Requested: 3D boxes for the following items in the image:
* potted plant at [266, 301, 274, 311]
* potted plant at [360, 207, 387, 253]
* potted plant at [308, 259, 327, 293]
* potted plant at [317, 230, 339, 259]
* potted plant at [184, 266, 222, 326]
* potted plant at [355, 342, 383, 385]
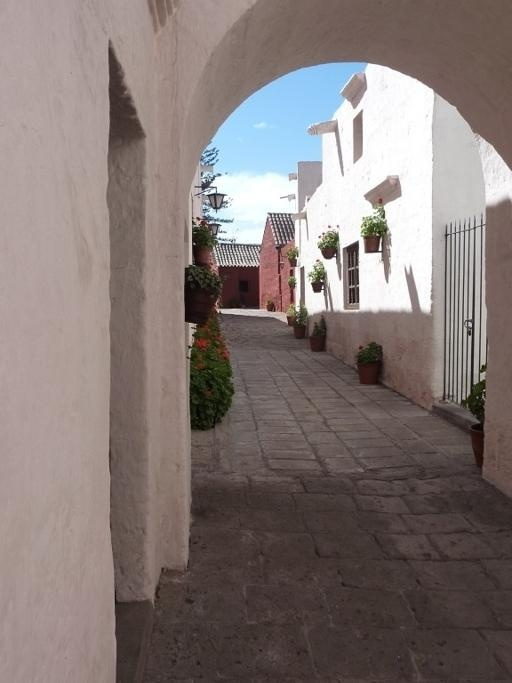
[{"bbox_3d":[0.678,-1.685,25.714,0.306,0.507,0.329,-1,0,2],"label":"potted plant"},{"bbox_3d":[1.750,-1.631,8.112,0.243,0.636,0.593,-2,5,-30],"label":"potted plant"},{"bbox_3d":[1.452,-1.523,12.940,0.423,1.026,0.502,0,3,-3],"label":"potted plant"},{"bbox_3d":[1.505,-2.038,11.464,0.406,0.827,0.474,1,-5,-3],"label":"potted plant"},{"bbox_3d":[-0.327,-0.286,3.216,0.210,0.323,0.254,6,8,-17],"label":"potted plant"},{"bbox_3d":[1.712,0.326,8.370,0.386,0.629,0.301,1,4,13],"label":"potted plant"}]
